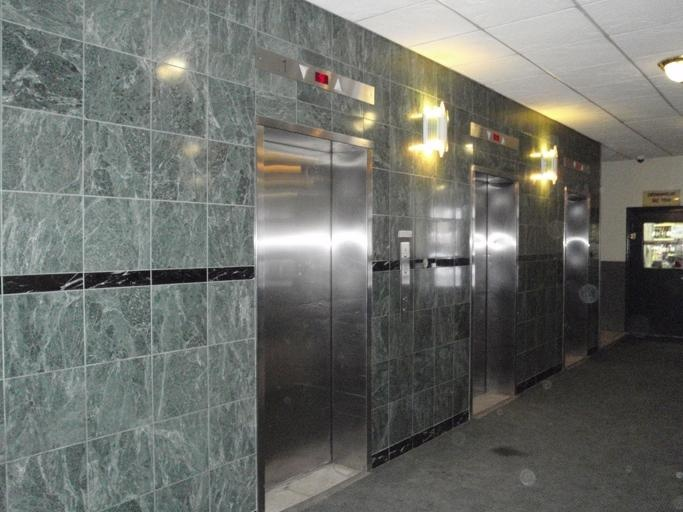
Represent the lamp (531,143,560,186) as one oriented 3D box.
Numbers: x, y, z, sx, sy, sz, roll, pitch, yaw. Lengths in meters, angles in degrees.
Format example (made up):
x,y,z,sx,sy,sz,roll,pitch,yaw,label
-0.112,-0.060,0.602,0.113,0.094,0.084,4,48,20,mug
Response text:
x,y,z,sx,sy,sz,roll,pitch,yaw,label
2.721,-1.244,7.164,0.160,0.589,0.483,0,-5,45,lamp
